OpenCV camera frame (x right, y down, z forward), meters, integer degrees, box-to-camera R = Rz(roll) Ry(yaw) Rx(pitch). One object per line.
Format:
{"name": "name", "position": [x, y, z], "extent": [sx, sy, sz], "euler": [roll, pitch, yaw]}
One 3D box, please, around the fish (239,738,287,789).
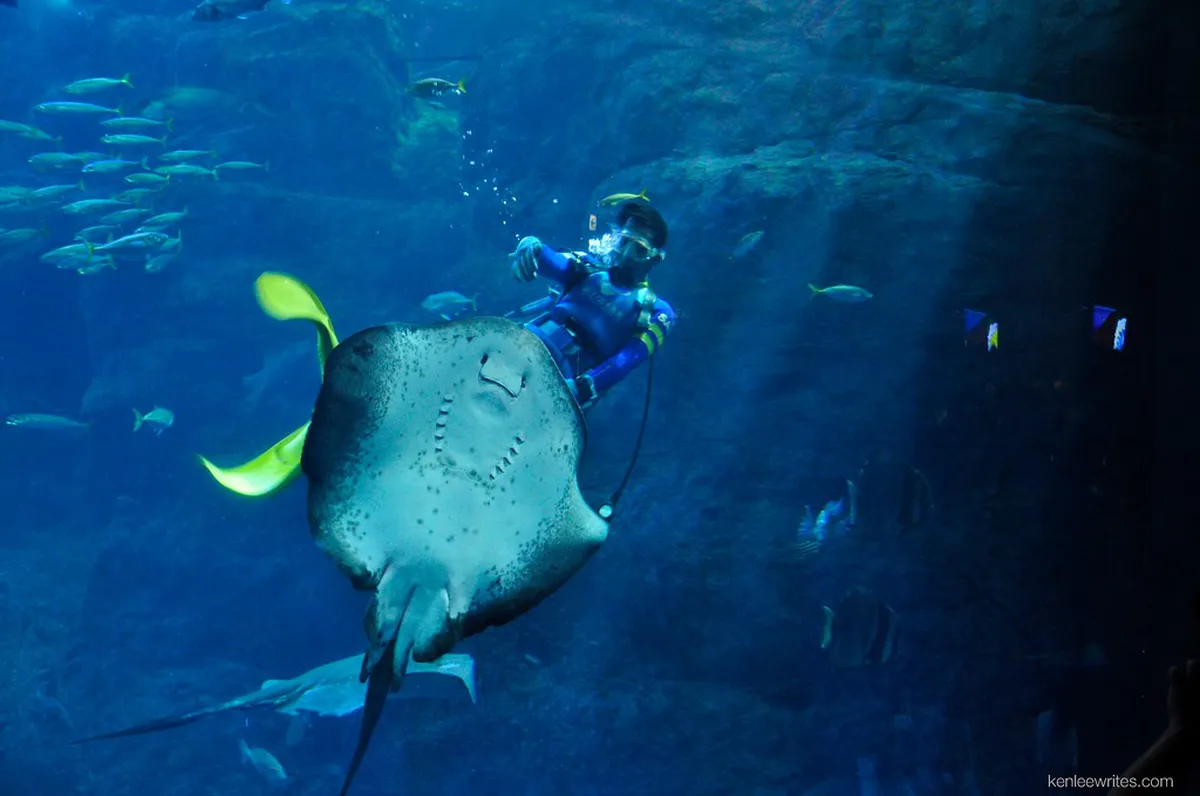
{"name": "fish", "position": [-4.928, 5.388, 19.195], "extent": [0.982, 0.449, 0.197], "euler": [34, 37, 28]}
